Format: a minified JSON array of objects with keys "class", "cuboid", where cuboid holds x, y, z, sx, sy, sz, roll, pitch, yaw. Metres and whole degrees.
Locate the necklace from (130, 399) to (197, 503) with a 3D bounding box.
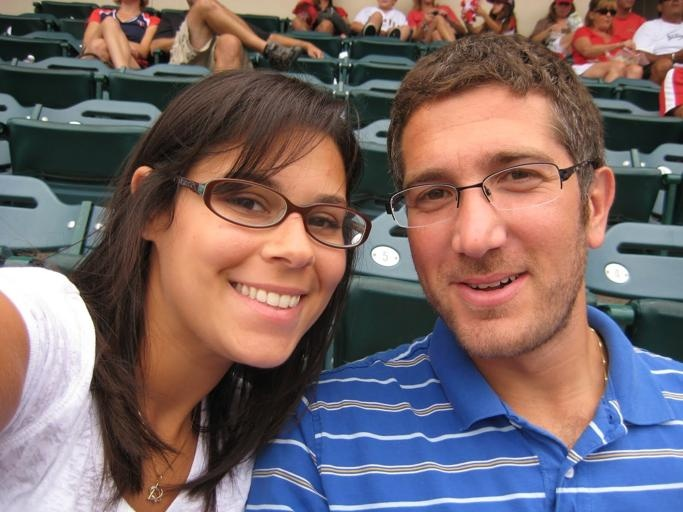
[{"class":"necklace","cuboid":[-0.651,0.748,2.411,0.075,0.163,0.330,-25,38,40]}]
